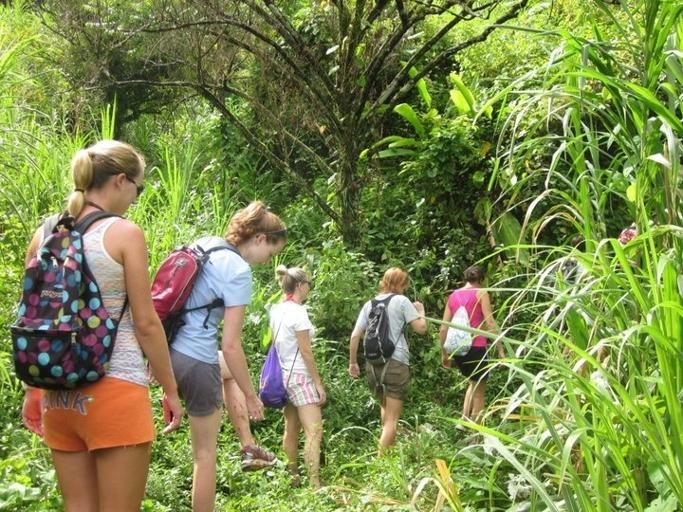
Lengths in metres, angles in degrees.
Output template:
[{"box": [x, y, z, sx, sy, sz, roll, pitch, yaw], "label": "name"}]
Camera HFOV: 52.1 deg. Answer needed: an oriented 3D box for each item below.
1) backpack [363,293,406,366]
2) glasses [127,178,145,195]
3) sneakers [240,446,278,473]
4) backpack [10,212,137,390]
[{"box": [0.376, 0.650, 6.180, 0.364, 0.559, 0.192, -3, 1, 5], "label": "backpack"}, {"box": [-1.033, -0.352, 3.506, 0.062, 0.069, 0.019, -14, 1, 36], "label": "glasses"}, {"box": [-0.568, 1.382, 4.789, 0.296, 0.156, 0.110, 1, -1, -39], "label": "sneakers"}, {"box": [-1.282, 0.201, 3.218, 0.466, 0.863, 0.188, -3, 1, -22], "label": "backpack"}]
